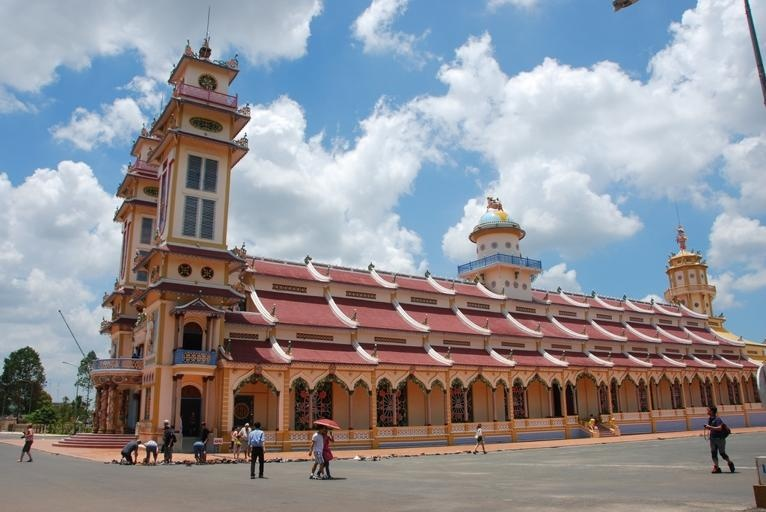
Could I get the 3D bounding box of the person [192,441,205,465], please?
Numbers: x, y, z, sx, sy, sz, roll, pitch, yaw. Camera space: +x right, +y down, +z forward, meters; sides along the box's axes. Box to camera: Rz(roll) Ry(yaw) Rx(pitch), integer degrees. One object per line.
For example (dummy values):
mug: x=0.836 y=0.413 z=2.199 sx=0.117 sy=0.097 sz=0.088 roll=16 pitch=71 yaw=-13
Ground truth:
person: x=-10.294 y=11.156 z=36.840 sx=0.489 sy=1.202 sz=0.438 roll=0 pitch=-20 yaw=-6

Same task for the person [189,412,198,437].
person: x=-12.582 y=11.255 z=43.633 sx=0.793 sy=1.707 sz=0.298 roll=4 pitch=-21 yaw=-18

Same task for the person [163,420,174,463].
person: x=-12.157 y=10.668 z=37.215 sx=0.569 sy=2.395 sz=1.036 roll=4 pitch=-21 yaw=-18

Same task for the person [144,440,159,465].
person: x=-12.934 y=11.138 z=36.707 sx=0.727 sy=1.377 sz=2.782 roll=4 pitch=-21 yaw=-17

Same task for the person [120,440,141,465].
person: x=-13.979 y=11.039 z=36.262 sx=0.818 sy=1.301 sz=2.127 roll=5 pitch=-21 yaw=-20

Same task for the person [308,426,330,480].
person: x=-3.003 y=9.369 z=30.917 sx=0.789 sy=2.320 sz=1.225 roll=0 pitch=-20 yaw=-5

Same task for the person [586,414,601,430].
person: x=18.320 y=14.766 z=57.053 sx=1.185 sy=1.241 sz=1.172 roll=-7 pitch=4 yaw=-31
